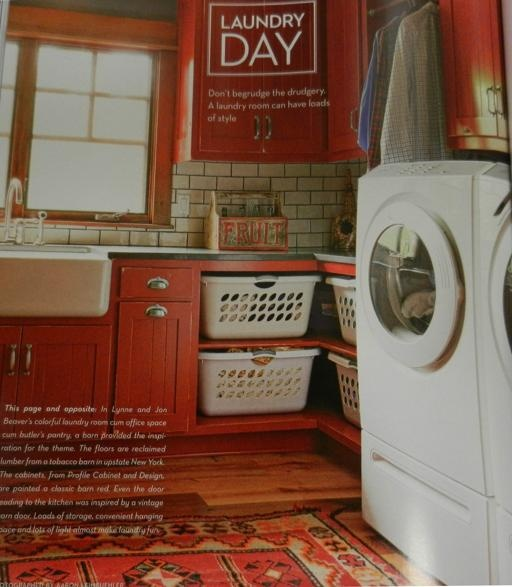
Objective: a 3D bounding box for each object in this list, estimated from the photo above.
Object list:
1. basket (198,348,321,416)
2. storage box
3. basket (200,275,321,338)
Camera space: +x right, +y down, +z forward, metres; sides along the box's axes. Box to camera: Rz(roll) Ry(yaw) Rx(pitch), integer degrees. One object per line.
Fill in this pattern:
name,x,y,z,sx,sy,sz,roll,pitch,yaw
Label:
basket,0.012,0.354,2.336,0.426,0.209,0.315,0,-4,-13
storage box,-0.049,-0.344,2.560,0.359,0.247,0.269,-2,11,-19
basket,0.015,0.043,2.329,0.413,0.207,0.301,-1,1,-15
